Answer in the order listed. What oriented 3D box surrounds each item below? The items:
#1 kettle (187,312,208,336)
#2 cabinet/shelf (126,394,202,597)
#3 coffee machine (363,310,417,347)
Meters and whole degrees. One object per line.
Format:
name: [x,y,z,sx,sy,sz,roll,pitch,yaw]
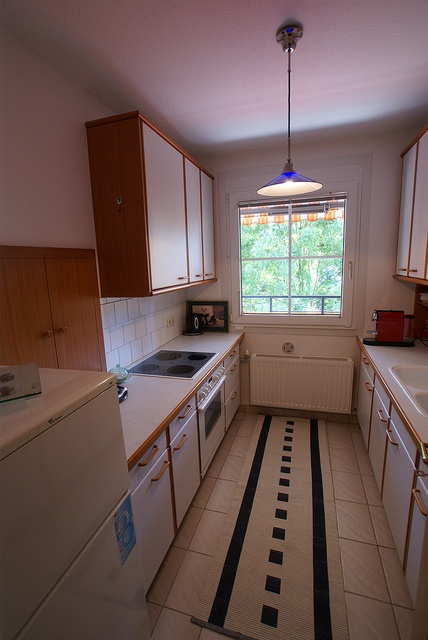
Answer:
kettle: [-0.102,0.029,3.390,0.116,0.219,0.202,1,3,34]
cabinet/shelf: [-0.223,0.758,1.719,0.278,0.603,0.605,-1,21,11]
coffee machine: [1.208,0.041,2.800,0.336,0.291,0.197,4,16,20]
